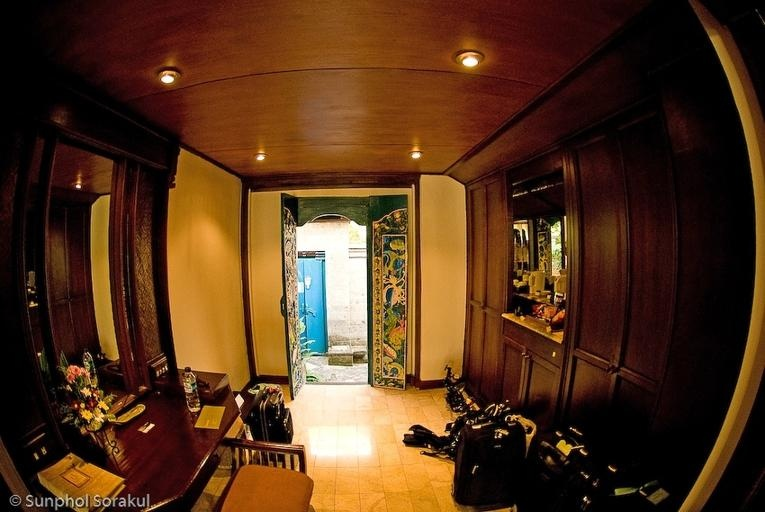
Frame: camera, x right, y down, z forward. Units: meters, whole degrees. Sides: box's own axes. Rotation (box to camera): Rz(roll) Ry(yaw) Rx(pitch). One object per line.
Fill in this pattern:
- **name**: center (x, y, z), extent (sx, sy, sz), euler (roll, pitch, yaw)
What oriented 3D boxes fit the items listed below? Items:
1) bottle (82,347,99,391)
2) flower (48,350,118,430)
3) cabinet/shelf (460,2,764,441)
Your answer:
- **bottle**: center (-2.011, 0.754, 3.273), extent (0.083, 0.334, 0.050), euler (7, -44, -49)
- **flower**: center (-1.996, 0.900, 3.160), extent (0.279, 0.504, 0.305), euler (0, 0, 41)
- **cabinet/shelf**: center (1.608, -0.157, 3.137), extent (0.448, 2.646, 1.408), euler (-1, 0, -37)
